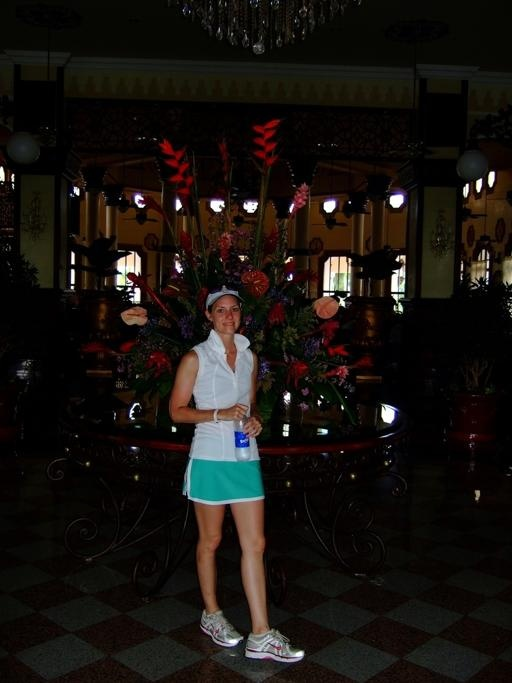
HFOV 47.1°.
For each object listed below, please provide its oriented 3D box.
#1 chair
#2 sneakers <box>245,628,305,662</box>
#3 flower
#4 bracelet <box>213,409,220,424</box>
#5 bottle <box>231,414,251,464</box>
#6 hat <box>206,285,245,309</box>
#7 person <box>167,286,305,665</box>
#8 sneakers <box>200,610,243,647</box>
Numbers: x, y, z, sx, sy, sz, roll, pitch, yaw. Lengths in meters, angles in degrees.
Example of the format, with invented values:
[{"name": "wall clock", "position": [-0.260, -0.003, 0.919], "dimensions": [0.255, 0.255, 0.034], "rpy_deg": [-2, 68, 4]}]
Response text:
[{"name": "chair", "position": [1.973, 0.768, 5.384], "dimensions": [0.417, 0.533, 0.378], "rpy_deg": [1, 0, 18]}, {"name": "sneakers", "position": [0.051, 1.022, 1.986], "dimensions": [0.248, 0.104, 0.089], "rpy_deg": [2, -1, 1]}, {"name": "flower", "position": [-0.183, -0.329, 2.362], "dimensions": [0.704, 0.769, 0.618], "rpy_deg": [3, 21, 21]}, {"name": "bracelet", "position": [-0.130, 0.245, 1.896], "dimensions": [0.018, 0.042, 0.059], "rpy_deg": [1, 0, -4]}, {"name": "bottle", "position": [-0.049, 0.316, 1.864], "dimensions": [0.048, 0.122, 0.071], "rpy_deg": [1, 0, 15]}, {"name": "hat", "position": [-0.108, -0.149, 2.019], "dimensions": [0.113, 0.053, 0.142], "rpy_deg": [-2, -4, -7]}, {"name": "person", "position": [-0.051, 0.466, 1.983], "dimensions": [0.430, 1.177, 0.353], "rpy_deg": [1, 0, 17]}, {"name": "sneakers", "position": [-0.150, 1.024, 2.143], "dimensions": [0.187, 0.081, 0.092], "rpy_deg": [12, 5, 41]}]
